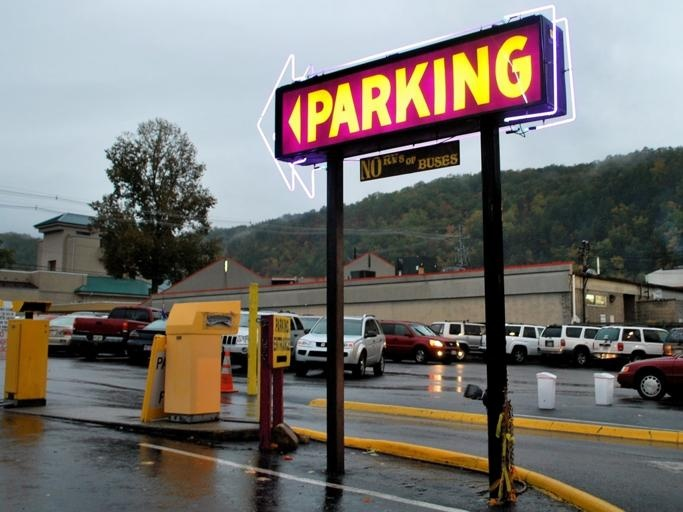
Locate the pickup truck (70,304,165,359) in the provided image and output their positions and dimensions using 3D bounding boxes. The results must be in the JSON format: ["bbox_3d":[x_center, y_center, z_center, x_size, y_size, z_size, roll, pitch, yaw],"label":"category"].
[{"bbox_3d":[-8.331,3.013,29.228,1.729,1.603,3.489,-1,-1,20],"label":"pickup truck"}]

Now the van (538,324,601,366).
[{"bbox_3d":[10.176,3.969,33.989,2.446,1.675,0.732,-5,-8,39],"label":"van"}]
